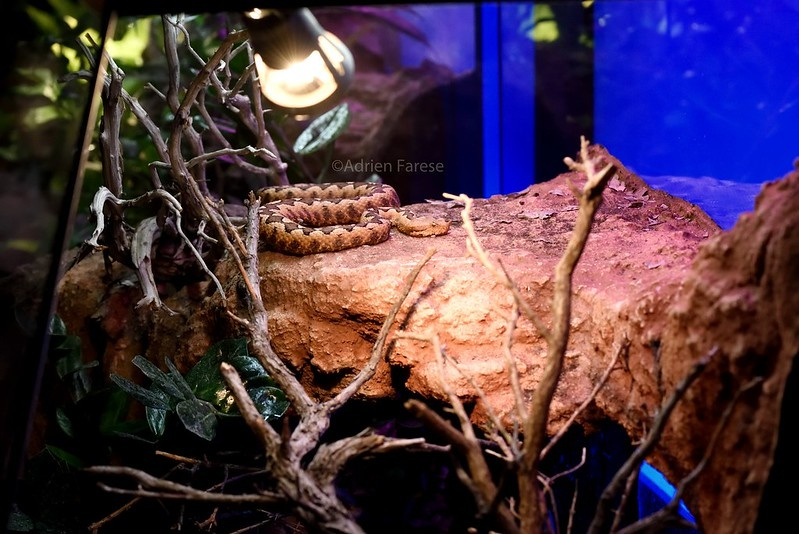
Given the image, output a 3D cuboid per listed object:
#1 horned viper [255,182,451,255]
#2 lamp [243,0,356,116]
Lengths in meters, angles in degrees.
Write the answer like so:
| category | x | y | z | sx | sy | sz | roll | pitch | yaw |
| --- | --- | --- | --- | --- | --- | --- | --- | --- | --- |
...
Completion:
| category | x | y | z | sx | sy | sz | roll | pitch | yaw |
| --- | --- | --- | --- | --- | --- | --- | --- | --- | --- |
| horned viper | -0.339 | -0.335 | 4.678 | 1.148 | 0.419 | 0.997 | 0 | 8 | -12 |
| lamp | -0.497 | -1.053 | 3.597 | 0.270 | 0.237 | 0.549 | -9 | -26 | 16 |
